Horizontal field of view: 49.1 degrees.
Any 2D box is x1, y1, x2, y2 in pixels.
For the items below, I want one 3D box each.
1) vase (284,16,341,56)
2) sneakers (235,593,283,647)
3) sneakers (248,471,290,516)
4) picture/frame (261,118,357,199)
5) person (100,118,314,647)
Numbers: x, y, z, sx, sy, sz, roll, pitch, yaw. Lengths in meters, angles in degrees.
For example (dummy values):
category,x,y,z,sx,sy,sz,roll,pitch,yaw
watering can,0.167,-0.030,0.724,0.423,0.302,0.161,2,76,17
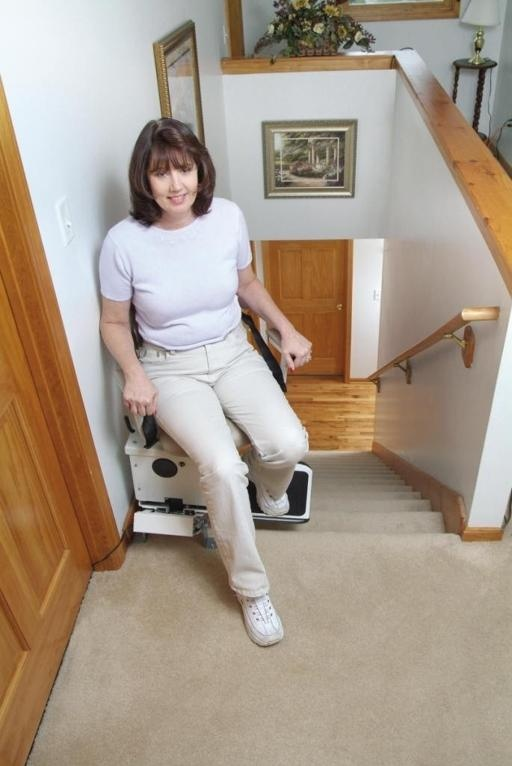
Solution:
category,x,y,z,sx,sy,sz,roll,pitch,yaw
vase,0.381,-2.249,3.690,0.222,0.144,0.234,0,59,4
sneakers,0.015,0.649,1.521,0.065,0.073,0.180,-6,19,-12
sneakers,0.030,0.369,1.898,0.076,0.080,0.162,-15,49,-33
picture/frame,0.396,-1.630,4.014,0.553,0.483,0.044,1,40,3
person,-0.080,-0.069,1.633,0.641,1.253,0.851,-20,33,-22
